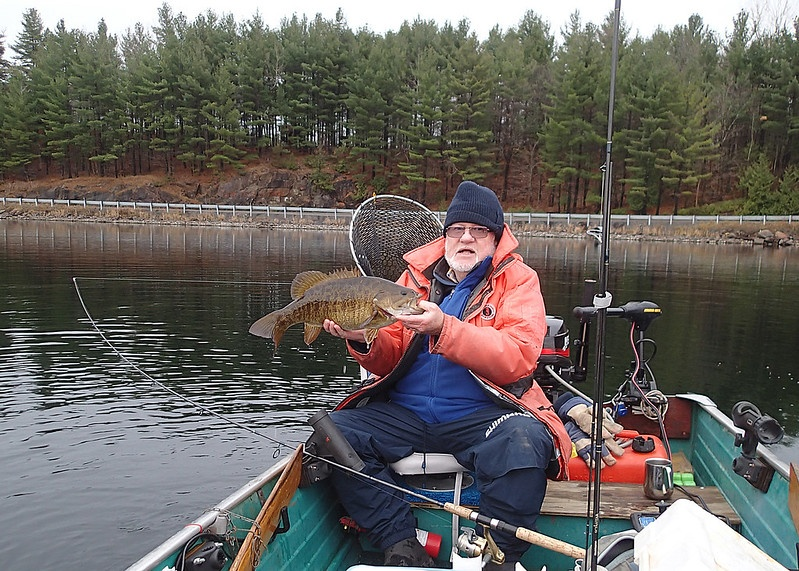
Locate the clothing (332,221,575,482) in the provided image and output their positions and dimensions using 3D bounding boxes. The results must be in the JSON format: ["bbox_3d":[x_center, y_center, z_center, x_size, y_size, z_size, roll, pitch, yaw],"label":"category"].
[{"bbox_3d":[0.508,0.630,5.002,1.735,1.918,1.870,-11,-19,43],"label":"clothing"}]

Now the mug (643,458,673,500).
[{"bbox_3d":[1.843,1.387,4.292,0.175,0.264,0.273,2,1,-2],"label":"mug"}]

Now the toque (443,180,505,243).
[{"bbox_3d":[0.576,-0.603,4.591,0.368,0.347,0.470,4,-21,21],"label":"toque"}]
